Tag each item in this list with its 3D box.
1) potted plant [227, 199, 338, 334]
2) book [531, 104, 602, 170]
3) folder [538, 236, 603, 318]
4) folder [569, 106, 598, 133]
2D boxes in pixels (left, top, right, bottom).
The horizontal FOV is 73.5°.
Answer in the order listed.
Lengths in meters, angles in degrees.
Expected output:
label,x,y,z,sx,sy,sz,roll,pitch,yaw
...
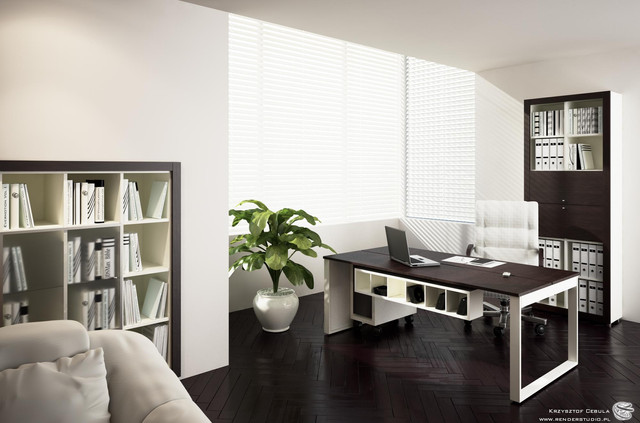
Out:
label,x,y,z,sx,sy,sz,roll,pitch,yaw
potted plant,-0.463,0.642,5.816,1.643,1.692,1.623,-1,1,-36
book,3.341,-0.989,5.756,0.959,0.892,0.318,3,7,35
folder,3.143,0.816,5.317,1.080,0.972,0.323,3,6,44
folder,3.440,-1.179,5.596,0.397,0.336,0.126,7,13,34
